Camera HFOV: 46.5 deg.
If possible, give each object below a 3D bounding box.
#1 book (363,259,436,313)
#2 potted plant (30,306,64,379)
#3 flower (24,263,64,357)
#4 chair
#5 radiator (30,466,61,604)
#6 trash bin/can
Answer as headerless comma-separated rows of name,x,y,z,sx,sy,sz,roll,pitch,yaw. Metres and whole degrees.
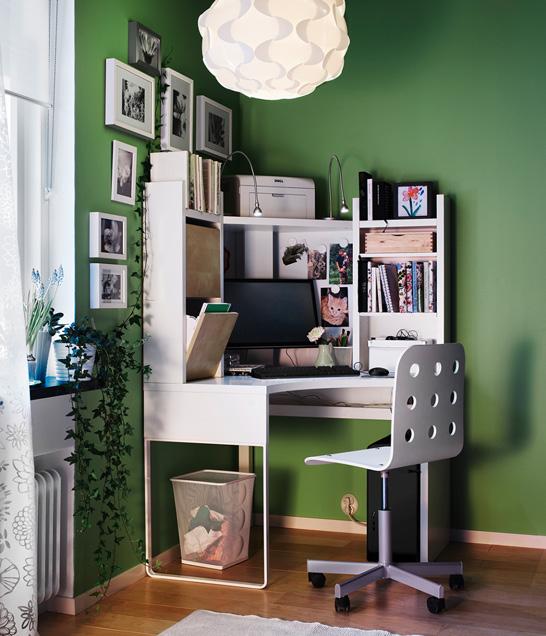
book,0.603,-0.151,3.010,0.236,0.299,0.062,0,1,15
potted plant,-0.720,0.101,2.059,0.076,0.215,0.106,-3,-17,-1
flower,-0.731,-0.013,1.986,0.094,0.299,0.087,4,-11,15
chair,0.415,0.548,2.306,0.590,0.914,0.509,0,-5,1
radiator,-0.696,0.689,1.985,0.062,0.370,0.173,1,0,9
trash bin/can,-0.236,0.807,2.726,0.329,0.476,0.340,-2,-3,38
